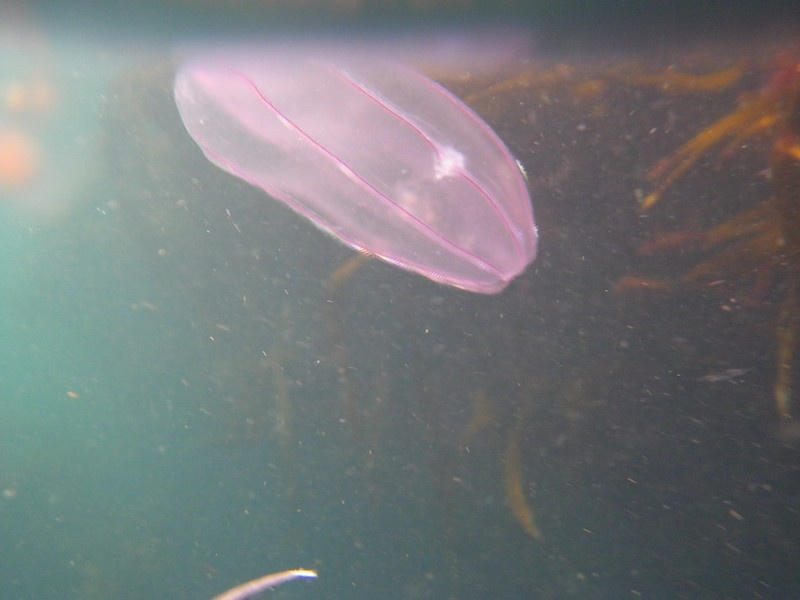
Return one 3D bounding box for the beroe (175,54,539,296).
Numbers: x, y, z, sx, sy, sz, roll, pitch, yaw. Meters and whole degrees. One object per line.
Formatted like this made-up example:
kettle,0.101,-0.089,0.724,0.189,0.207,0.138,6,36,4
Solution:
beroe,-0.081,-0.346,2.096,0.856,0.422,0.377,22,67,22
